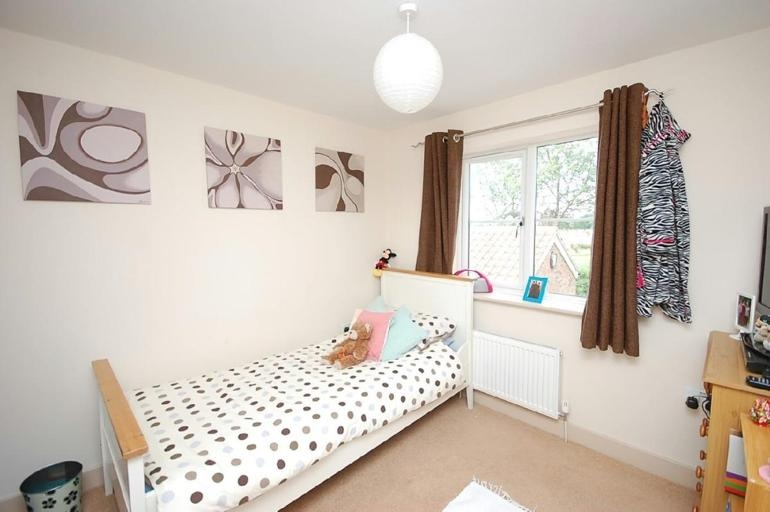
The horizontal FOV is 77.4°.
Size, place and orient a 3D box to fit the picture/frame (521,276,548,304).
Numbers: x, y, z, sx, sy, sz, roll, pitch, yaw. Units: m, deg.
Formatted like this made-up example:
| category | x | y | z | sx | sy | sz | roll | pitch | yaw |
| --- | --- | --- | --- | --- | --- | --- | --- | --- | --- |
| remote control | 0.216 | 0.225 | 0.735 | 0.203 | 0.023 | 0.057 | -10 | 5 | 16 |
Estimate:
| category | x | y | z | sx | sy | sz | roll | pitch | yaw |
| --- | --- | --- | --- | --- | --- | --- | --- | --- | --- |
| picture/frame | 1.333 | 0.291 | 4.250 | 0.200 | 0.272 | 0.162 | 11 | 8 | 40 |

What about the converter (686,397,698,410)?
| category | x | y | z | sx | sy | sz | roll | pitch | yaw |
| --- | --- | --- | --- | --- | --- | --- | --- | --- | --- |
| converter | 2.309 | 1.091 | 3.608 | 0.071 | 0.051 | 0.102 | -3 | -1 | 36 |

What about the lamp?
| category | x | y | z | sx | sy | sz | roll | pitch | yaw |
| --- | --- | --- | --- | --- | --- | --- | --- | --- | --- |
| lamp | 0.150 | -1.155 | 3.025 | 0.422 | 0.453 | 0.142 | 0 | 5 | -1 |

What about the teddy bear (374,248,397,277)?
| category | x | y | z | sx | sy | sz | roll | pitch | yaw |
| --- | --- | --- | --- | --- | --- | --- | --- | --- | --- |
| teddy bear | 0.003 | 0.064 | 5.105 | 0.206 | 0.288 | 0.158 | 19 | -9 | 33 |

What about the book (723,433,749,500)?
| category | x | y | z | sx | sy | sz | roll | pitch | yaw |
| --- | --- | --- | --- | --- | --- | --- | --- | --- | --- |
| book | 2.163 | 1.274 | 2.964 | 0.102 | 0.354 | 0.103 | 3 | 5 | 30 |

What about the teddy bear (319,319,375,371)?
| category | x | y | z | sx | sy | sz | roll | pitch | yaw |
| --- | --- | --- | --- | --- | --- | --- | --- | --- | --- |
| teddy bear | -0.309 | 0.754 | 4.189 | 0.332 | 0.415 | 0.436 | 2 | -9 | 32 |

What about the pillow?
| category | x | y | z | sx | sy | sz | roll | pitch | yaw |
| --- | --- | --- | --- | --- | --- | --- | --- | --- | --- |
| pillow | 0.085 | 0.652 | 4.369 | 0.589 | 0.174 | 0.560 | 11 | 26 | 32 |
